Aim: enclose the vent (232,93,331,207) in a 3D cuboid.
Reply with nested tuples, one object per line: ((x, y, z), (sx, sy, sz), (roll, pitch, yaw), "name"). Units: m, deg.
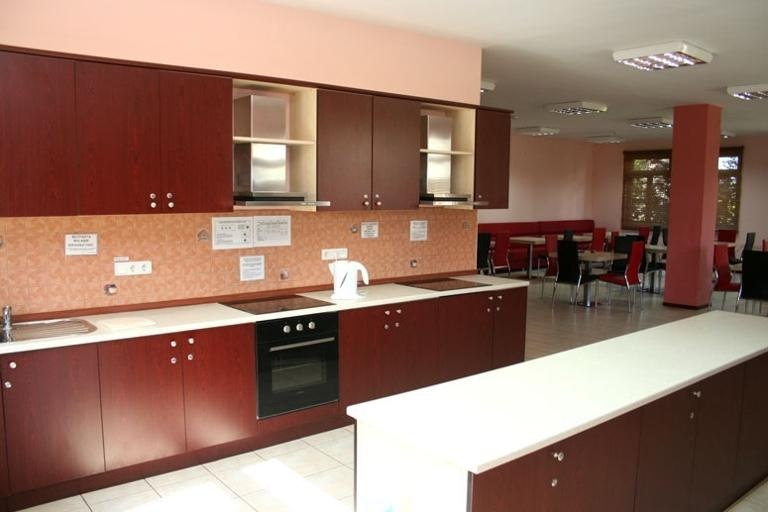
((-0.904, -0.875, 4.587), (0.809, 0.888, 0.792), (-1, 11, -20), "vent")

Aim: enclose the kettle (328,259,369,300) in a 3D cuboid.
((-0.331, 0.219, 4.942), (0.334, 0.339, 0.291), (-1, 14, -7), "kettle")

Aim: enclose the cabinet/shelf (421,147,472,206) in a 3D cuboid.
((0.554, -0.809, 5.757), (0.720, 0.643, 0.559), (-4, 8, -32), "cabinet/shelf")

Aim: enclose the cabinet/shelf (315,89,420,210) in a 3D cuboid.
((-0.197, -0.998, 5.018), (1.180, 1.038, 0.455), (-4, 9, -33), "cabinet/shelf")

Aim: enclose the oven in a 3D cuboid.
((-0.848, 0.963, 4.685), (0.792, 0.670, 0.605), (-4, 6, -39), "oven")
